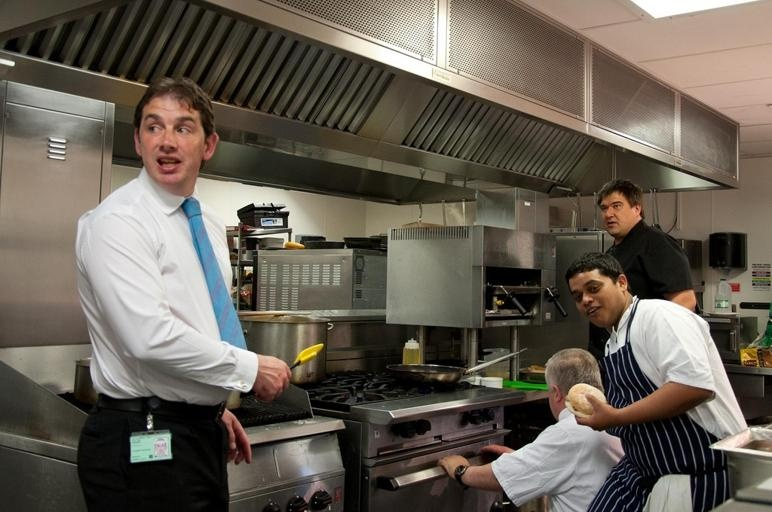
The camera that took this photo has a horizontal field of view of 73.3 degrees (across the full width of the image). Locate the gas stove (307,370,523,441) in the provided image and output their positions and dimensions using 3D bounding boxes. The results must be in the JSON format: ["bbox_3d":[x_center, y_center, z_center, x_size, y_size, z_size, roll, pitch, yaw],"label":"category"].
[{"bbox_3d":[-0.003,0.780,2.795,1.307,0.149,1.172,7,-11,-37],"label":"gas stove"}]

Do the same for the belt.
[{"bbox_3d":[-0.673,0.464,1.565,0.357,0.113,0.096,0,-2,-20],"label":"belt"}]

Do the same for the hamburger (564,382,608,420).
[{"bbox_3d":[0.756,0.558,1.917,0.152,0.081,0.142,29,-8,8],"label":"hamburger"}]

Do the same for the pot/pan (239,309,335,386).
[{"bbox_3d":[-0.503,0.447,2.643,0.437,0.197,0.397,0,-4,-2],"label":"pot/pan"}]

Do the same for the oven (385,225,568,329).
[{"bbox_3d":[0.645,0.164,3.581,0.766,0.566,1.117,-3,-7,45],"label":"oven"}]
